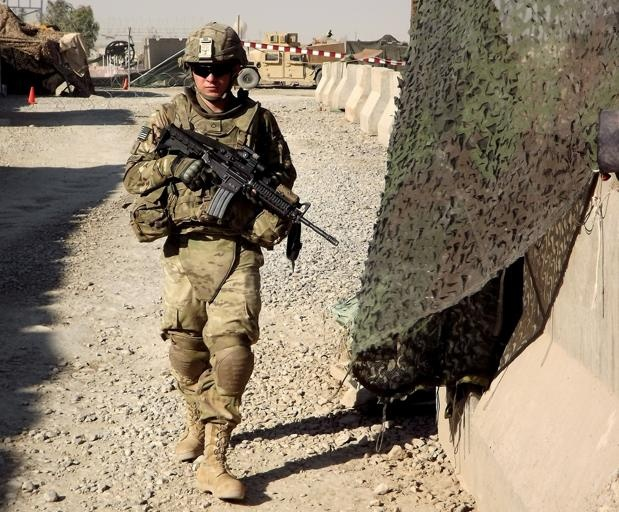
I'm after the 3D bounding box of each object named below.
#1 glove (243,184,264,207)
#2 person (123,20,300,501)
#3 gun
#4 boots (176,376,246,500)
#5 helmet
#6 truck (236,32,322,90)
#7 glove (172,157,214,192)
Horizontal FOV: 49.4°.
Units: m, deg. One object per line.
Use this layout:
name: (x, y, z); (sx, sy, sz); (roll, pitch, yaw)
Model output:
glove: (-0.225, -0.286, 3.144); (0.147, 0.058, 0.039); (39, 21, -32)
person: (-0.370, -0.009, 3.286); (0.758, 2.097, 0.846); (3, 5, 34)
gun: (-0.261, -0.296, 3.048); (0.906, 0.359, 0.114); (33, 9, 17)
boots: (-0.448, 0.893, 3.159); (0.163, 0.372, 0.569); (-7, 21, -29)
helmet: (-0.411, -0.974, 3.116); (0.295, 0.215, 0.251); (0, 18, -10)
truck: (-1.086, -8.314, 27.360); (3.809, 2.153, 2.181); (-7, 41, -14)
glove: (-0.497, -0.375, 3.034); (0.168, 0.134, 0.075); (2, 18, -7)
